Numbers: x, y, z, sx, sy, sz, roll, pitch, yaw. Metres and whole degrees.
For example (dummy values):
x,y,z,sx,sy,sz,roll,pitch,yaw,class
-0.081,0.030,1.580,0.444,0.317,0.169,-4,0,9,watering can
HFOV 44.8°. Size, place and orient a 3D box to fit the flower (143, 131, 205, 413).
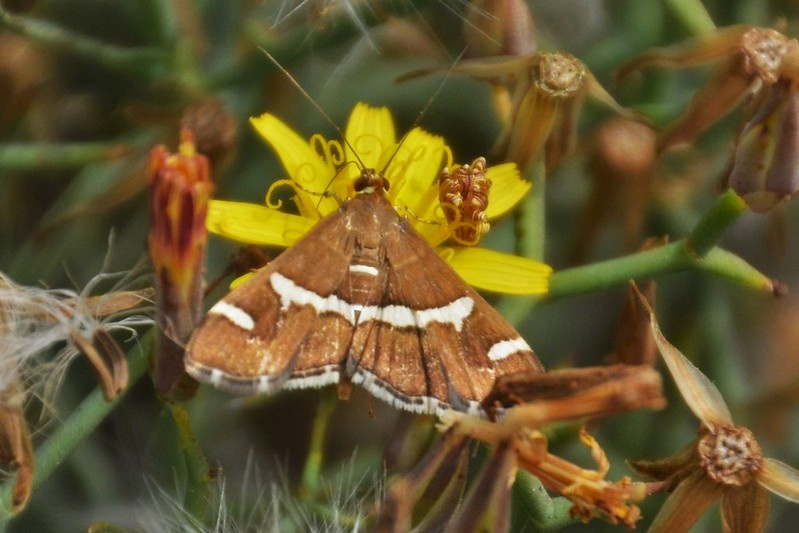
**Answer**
x,y,z,sx,sy,sz,roll,pitch,yaw,class
-0.358,0.016,1.586,0.095,0.371,0.169,1,32,1,flower
